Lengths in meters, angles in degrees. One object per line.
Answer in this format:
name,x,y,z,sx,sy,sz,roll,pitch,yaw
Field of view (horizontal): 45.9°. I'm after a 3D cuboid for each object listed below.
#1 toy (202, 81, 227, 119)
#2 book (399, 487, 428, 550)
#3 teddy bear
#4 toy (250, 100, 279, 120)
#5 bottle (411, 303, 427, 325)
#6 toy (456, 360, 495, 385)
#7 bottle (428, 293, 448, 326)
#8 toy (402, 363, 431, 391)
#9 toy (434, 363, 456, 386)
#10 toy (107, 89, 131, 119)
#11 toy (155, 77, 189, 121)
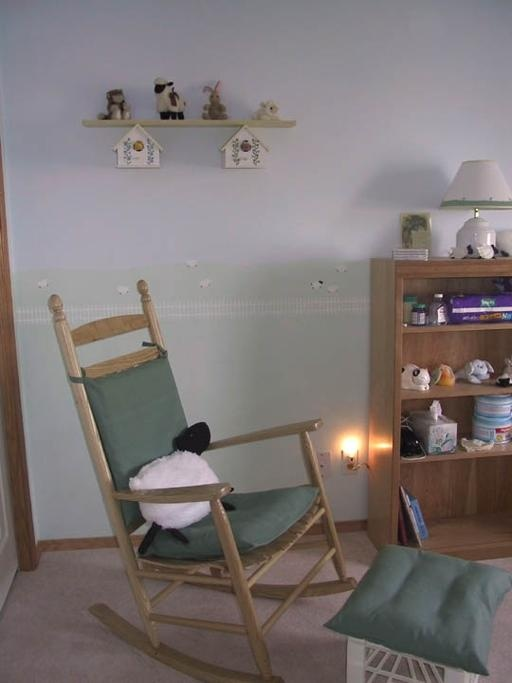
toy,-0.164,-0.939,2.365,0.102,0.172,0.154,-2,13,-3
book,0.644,0.725,2.476,0.061,0.203,0.213,-11,0,11
teddy bear,-0.217,0.487,1.999,0.269,0.308,0.468,2,12,13
toy,0.030,-0.909,2.382,0.063,0.085,0.080,-51,-9,-18
bottle,0.659,-0.106,2.431,0.069,0.082,0.054,-3,13,-9
toy,0.970,0.120,2.630,0.193,0.094,0.163,-1,12,0
bottle,0.743,-0.131,2.457,0.072,0.118,0.148,7,14,32
toy,0.662,0.148,2.505,0.114,0.091,0.163,2,12,16
toy,0.790,0.140,2.586,0.093,0.082,0.087,-18,4,-8
toy,-0.530,-0.905,2.316,0.071,0.106,0.107,-10,56,-2
toy,-0.335,-0.925,2.333,0.102,0.132,0.130,-3,13,-8
